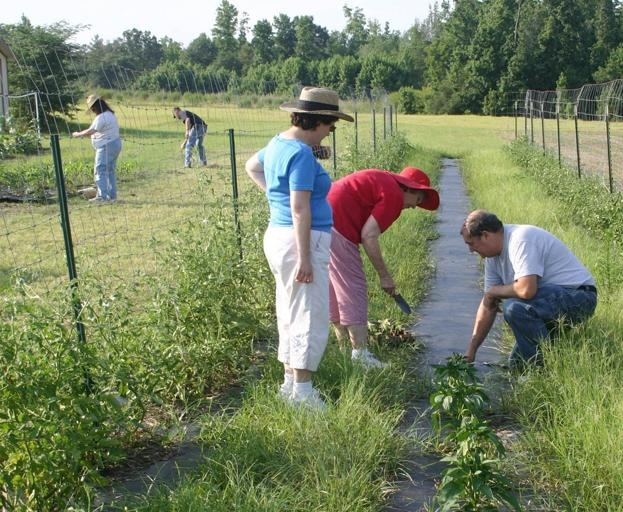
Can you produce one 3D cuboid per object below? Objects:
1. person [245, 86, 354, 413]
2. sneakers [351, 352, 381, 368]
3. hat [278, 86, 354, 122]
[{"bbox_3d":[-0.084,-0.059,4.830,0.508,2.337,0.864,-5,15,-21],"label":"person"},{"bbox_3d":[0.466,0.886,5.466,0.288,0.148,0.109,6,16,-4],"label":"sneakers"},{"bbox_3d":[0.045,-1.123,4.701,0.551,0.240,0.506,2,17,-32],"label":"hat"}]
